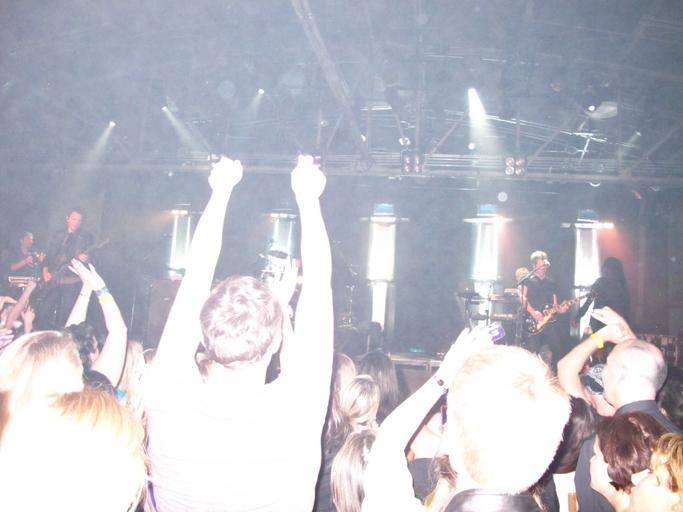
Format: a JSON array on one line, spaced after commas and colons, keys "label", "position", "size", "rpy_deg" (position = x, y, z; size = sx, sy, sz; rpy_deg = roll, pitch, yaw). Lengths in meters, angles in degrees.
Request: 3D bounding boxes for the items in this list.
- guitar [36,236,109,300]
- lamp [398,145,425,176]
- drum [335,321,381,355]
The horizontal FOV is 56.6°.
[{"label": "guitar", "position": [-3.657, 0.158, 8.520], "size": [0.545, 1.064, 0.213], "rpy_deg": [41, -6, 21]}, {"label": "lamp", "position": [1.039, -1.372, 9.316], "size": [0.350, 0.360, 0.096], "rpy_deg": [8, 9, 22]}, {"label": "drum", "position": [0.234, 1.205, 9.192], "size": [0.720, 0.428, 0.379], "rpy_deg": [-4, 9, -44]}]
